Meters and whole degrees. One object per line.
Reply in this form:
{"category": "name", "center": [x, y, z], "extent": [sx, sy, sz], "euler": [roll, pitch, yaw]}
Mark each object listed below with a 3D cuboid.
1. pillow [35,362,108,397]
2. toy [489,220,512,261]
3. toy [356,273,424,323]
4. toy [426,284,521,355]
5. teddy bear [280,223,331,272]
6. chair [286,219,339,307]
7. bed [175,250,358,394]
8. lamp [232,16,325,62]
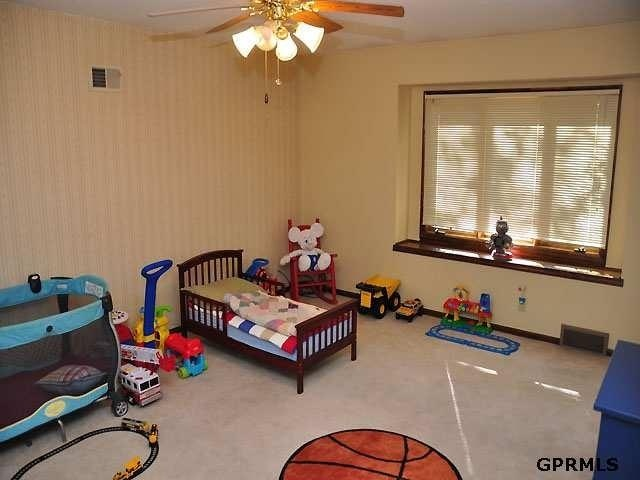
{"category": "pillow", "center": [-2.101, 1.193, 4.112], "extent": [0.521, 0.218, 0.482], "euler": [-9, -7, 19]}
{"category": "toy", "center": [2.178, -0.017, 5.733], "extent": [0.290, 0.489, 0.252], "euler": [10, 18, 34]}
{"category": "toy", "center": [0.882, 0.753, 6.104], "extent": [0.430, 0.416, 0.818], "euler": [3, 6, 40]}
{"category": "toy", "center": [1.824, 0.898, 5.587], "extent": [1.000, 0.526, 0.615], "euler": [8, 13, 30]}
{"category": "teddy bear", "center": [-0.195, 0.099, 6.569], "extent": [0.646, 0.565, 0.368], "euler": [-6, 5, -29]}
{"category": "chair", "center": [-0.172, 0.302, 6.562], "extent": [0.767, 1.105, 0.762], "euler": [-2, 10, -7]}
{"category": "bed", "center": [-0.639, 0.778, 5.410], "extent": [2.056, 1.162, 1.078], "euler": [7, 12, 41]}
{"category": "lamp", "center": [-0.339, -1.546, 3.509], "extent": [0.556, 0.141, 0.476], "euler": [-16, 2, -32]}
